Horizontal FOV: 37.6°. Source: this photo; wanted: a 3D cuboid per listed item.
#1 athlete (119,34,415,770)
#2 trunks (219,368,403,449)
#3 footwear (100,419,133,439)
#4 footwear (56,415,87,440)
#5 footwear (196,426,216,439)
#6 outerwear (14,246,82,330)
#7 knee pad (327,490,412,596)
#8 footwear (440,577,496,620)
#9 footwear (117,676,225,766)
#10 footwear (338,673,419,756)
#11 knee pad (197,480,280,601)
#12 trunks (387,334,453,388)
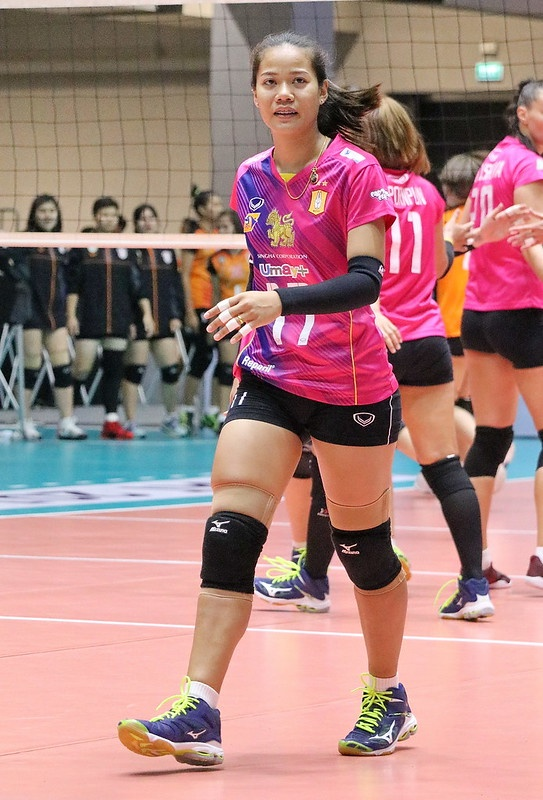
[{"bbox_3d":[0.032,-0.039,1.563,0.504,1.519,0.618,1,-5,10],"label":"athlete"},{"bbox_3d":[0.082,0.014,1.599,0.276,0.137,0.161,-2,-1,-9],"label":"trunks"},{"bbox_3d":[-2.208,0.413,11.342,0.308,0.173,0.320,-1,5,0],"label":"footwear"},{"bbox_3d":[-2.744,0.413,10.849,0.418,0.376,0.252,9,-20,-10],"label":"footwear"},{"bbox_3d":[-0.976,0.513,12.107,0.214,0.090,0.198,8,-5,13],"label":"footwear"},{"bbox_3d":[-2.986,-1.502,10.604,0.501,1.208,0.760,-1,-6,28],"label":"outerwear"},{"bbox_3d":[0.173,0.292,1.714,0.146,0.196,0.208,-15,15,3],"label":"knee pad"},{"bbox_3d":[0.789,0.814,3.272,0.108,0.130,0.278,0,-4,-16],"label":"footwear"},{"bbox_3d":[-0.170,0.565,1.408,0.071,0.139,0.213,-34,-49,32],"label":"footwear"},{"bbox_3d":[0.226,0.664,1.682,0.099,0.143,0.297,-10,-10,32],"label":"footwear"},{"bbox_3d":[-0.063,0.281,1.528,0.136,0.181,0.094,2,-5,-1],"label":"knee pad"},{"bbox_3d":[0.659,-0.155,3.285,0.309,0.206,0.228,-2,-3,41],"label":"trunks"}]
